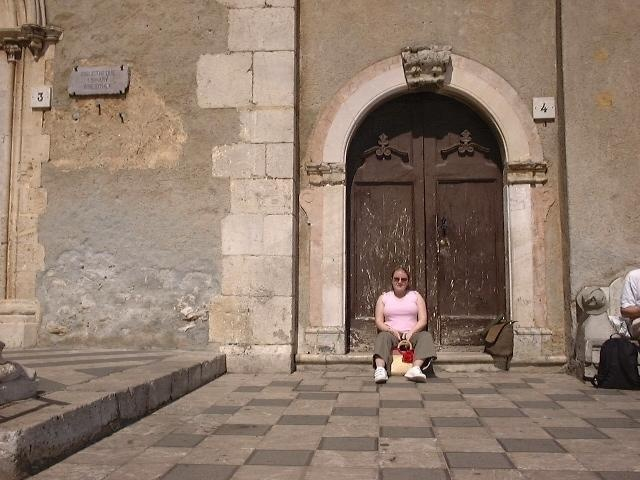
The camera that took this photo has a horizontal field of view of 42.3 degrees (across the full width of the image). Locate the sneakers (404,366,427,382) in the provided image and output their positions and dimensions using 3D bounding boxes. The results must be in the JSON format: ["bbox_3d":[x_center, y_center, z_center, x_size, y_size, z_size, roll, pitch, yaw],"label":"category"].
[{"bbox_3d":[0.922,1.303,8.063,0.106,0.090,0.221,12,-16,-24],"label":"sneakers"}]

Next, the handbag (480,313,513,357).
[{"bbox_3d":[1.909,1.063,8.866,0.345,0.519,0.531,4,-9,1],"label":"handbag"}]

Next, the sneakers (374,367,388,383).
[{"bbox_3d":[0.583,1.312,8.011,0.121,0.149,0.160,-1,-4,2],"label":"sneakers"}]

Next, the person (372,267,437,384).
[{"bbox_3d":[0.831,0.838,8.350,0.619,1.128,0.717,-1,-4,3],"label":"person"}]
